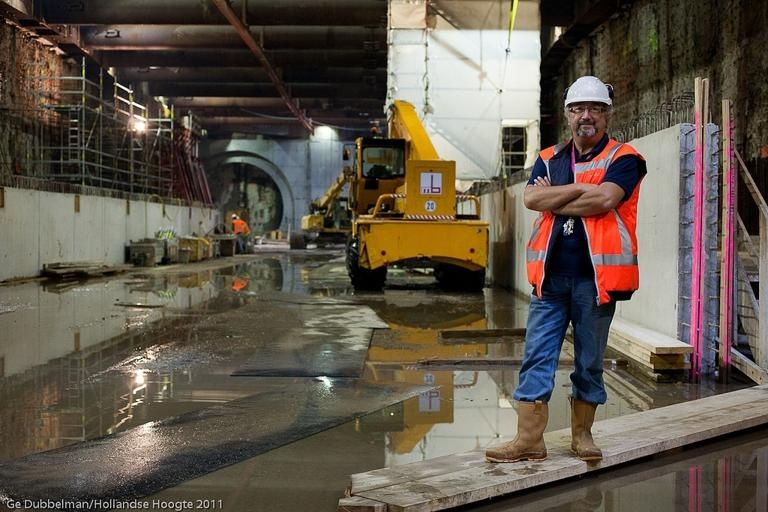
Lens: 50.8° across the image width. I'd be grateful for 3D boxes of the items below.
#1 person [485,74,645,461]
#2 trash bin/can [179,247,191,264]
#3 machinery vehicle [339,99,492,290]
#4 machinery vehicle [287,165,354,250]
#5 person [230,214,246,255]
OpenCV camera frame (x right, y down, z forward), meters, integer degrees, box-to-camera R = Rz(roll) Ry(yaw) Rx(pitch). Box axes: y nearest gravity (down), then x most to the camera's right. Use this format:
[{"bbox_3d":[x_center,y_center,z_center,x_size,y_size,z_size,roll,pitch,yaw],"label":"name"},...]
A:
[{"bbox_3d":[1.857,0.132,7.833,1.277,3.719,0.335,-1,1,8],"label":"person"},{"bbox_3d":[-6.122,0.004,24.791,0.467,0.404,0.392,0,-5,-9],"label":"trash bin/can"},{"bbox_3d":[0.626,-1.397,17.172,2.769,4.300,3.115,-1,1,-1],"label":"machinery vehicle"},{"bbox_3d":[-2.508,-2.167,36.186,2.363,3.935,6.096,4,2,-22],"label":"machinery vehicle"},{"bbox_3d":[-5.545,-0.857,31.156,0.584,1.546,1.882,-1,1,-9],"label":"person"}]
